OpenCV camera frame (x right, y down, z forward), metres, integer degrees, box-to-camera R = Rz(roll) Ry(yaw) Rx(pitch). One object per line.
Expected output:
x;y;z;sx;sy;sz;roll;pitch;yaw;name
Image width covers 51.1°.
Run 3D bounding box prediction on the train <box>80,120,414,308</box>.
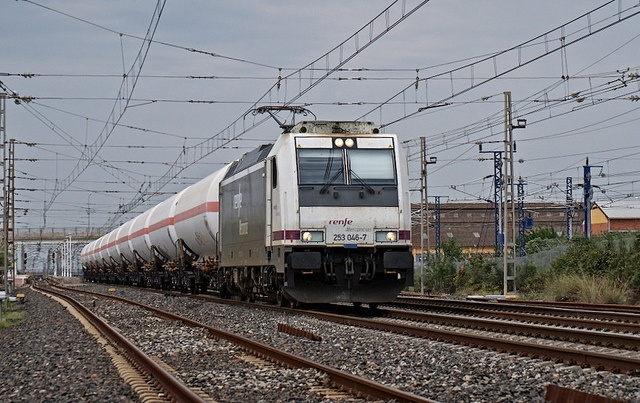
-6.033;2.091;36.657;5.636;6.762;34.879;0;-6;-18;train
